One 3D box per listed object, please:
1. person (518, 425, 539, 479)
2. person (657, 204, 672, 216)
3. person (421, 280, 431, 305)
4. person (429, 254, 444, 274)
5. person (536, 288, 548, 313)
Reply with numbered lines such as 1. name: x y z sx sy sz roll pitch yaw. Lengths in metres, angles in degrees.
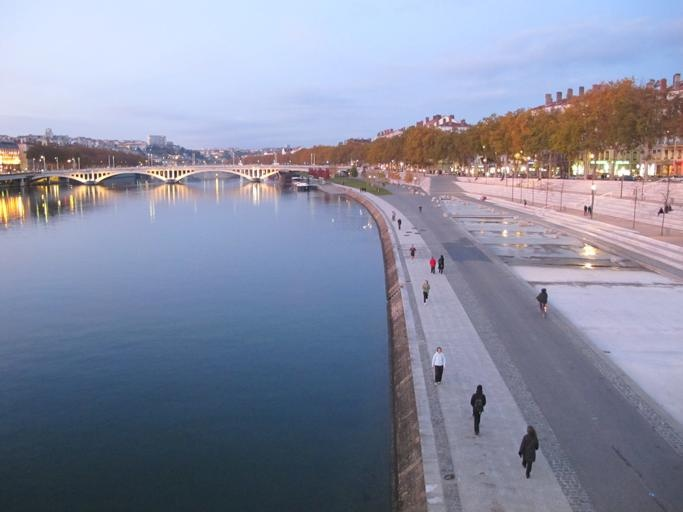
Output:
1. person: 6.865 7.099 20.662 0.596 1.896 0.689 3 11 21
2. person: 34.997 -4.915 60.721 1.003 1.307 3.326 -4 7 17
3. person: 5.520 2.250 36.676 0.397 1.370 1.503 1 11 8
4. person: 7.548 0.735 44.619 0.986 1.485 0.521 10 41 22
5. person: 12.185 2.645 33.586 0.820 1.596 0.957 2 -11 6
